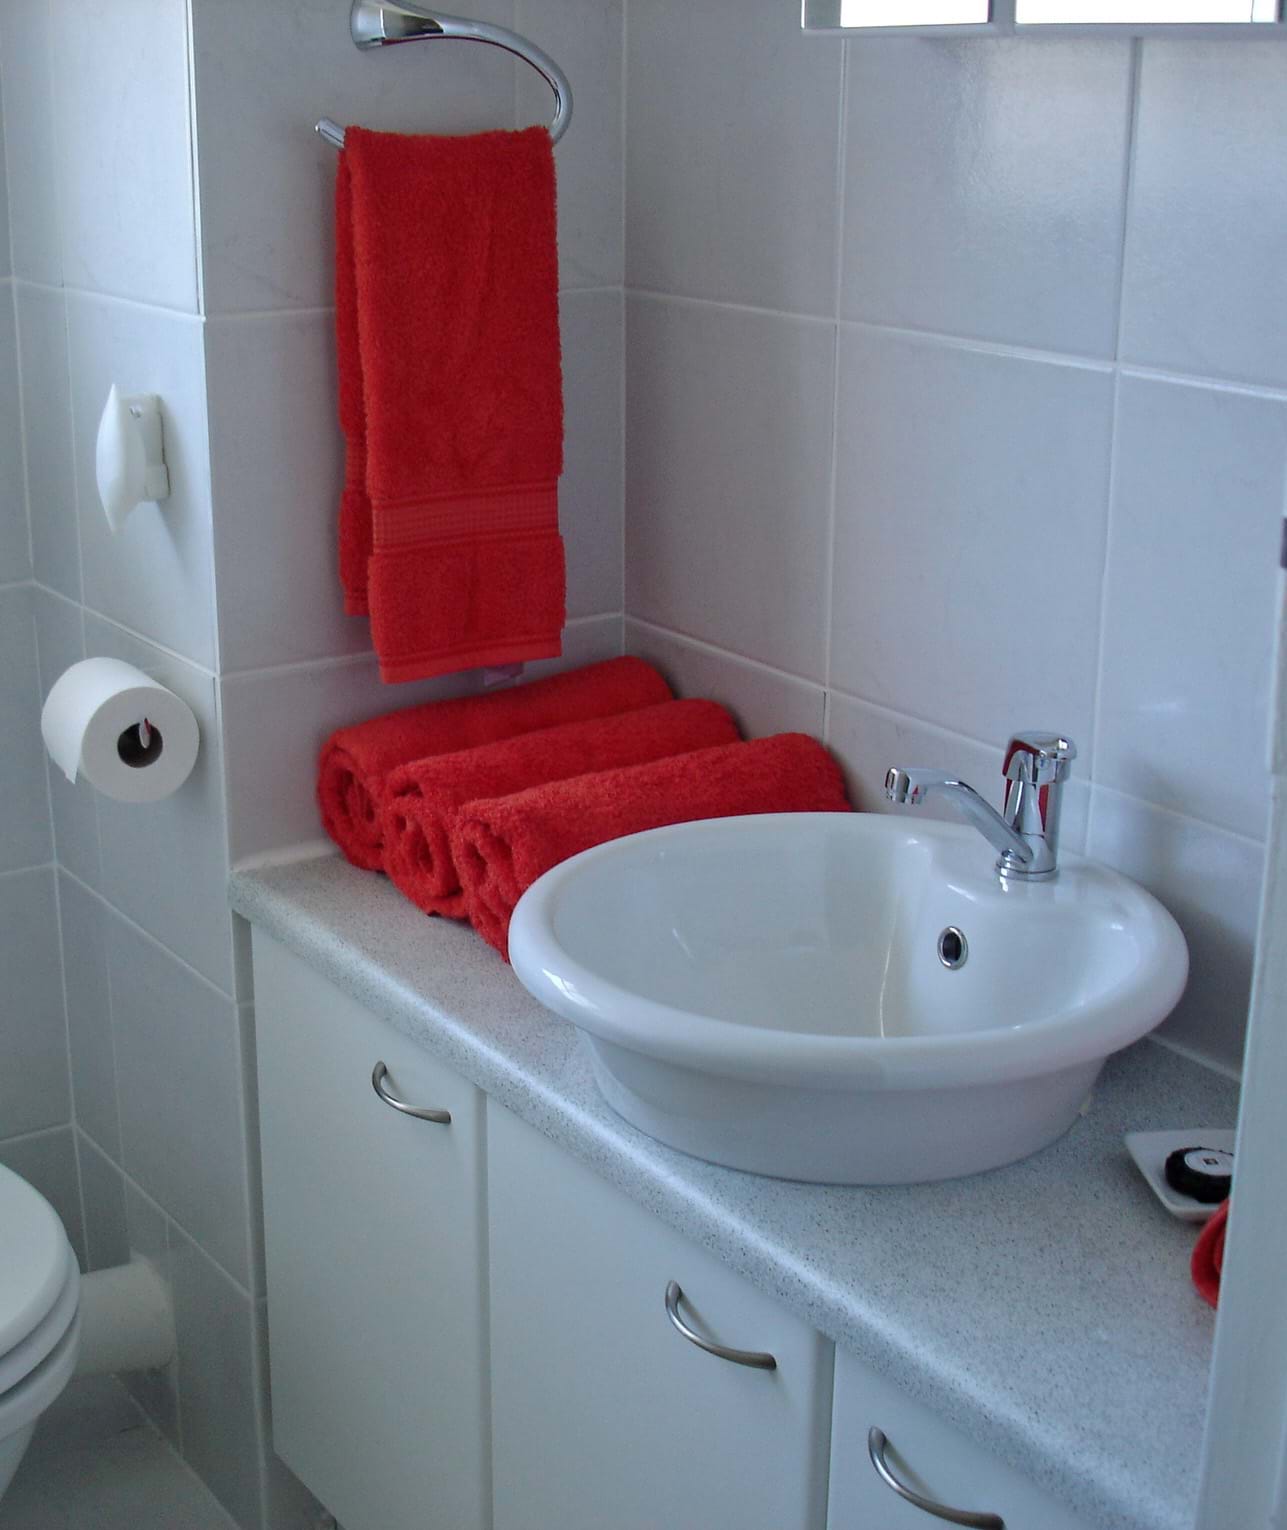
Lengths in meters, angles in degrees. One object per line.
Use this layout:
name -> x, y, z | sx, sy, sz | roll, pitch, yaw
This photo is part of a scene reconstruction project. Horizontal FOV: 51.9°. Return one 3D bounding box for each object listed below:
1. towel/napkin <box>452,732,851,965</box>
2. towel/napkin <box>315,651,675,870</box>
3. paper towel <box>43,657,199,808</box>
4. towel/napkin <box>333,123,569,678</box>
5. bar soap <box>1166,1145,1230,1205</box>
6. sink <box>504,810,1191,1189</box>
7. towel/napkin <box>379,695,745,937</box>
towel/napkin -> 0.001, 0.002, 1.213 | 0.245, 0.111, 0.211 | -20, 36, -28
towel/napkin -> -0.181, -0.055, 1.436 | 0.262, 0.118, 0.226 | -16, 33, -34
paper towel -> -0.556, -0.020, 1.410 | 0.132, 0.166, 0.183 | -7, 15, -34
towel/napkin -> -0.190, -0.355, 1.309 | 0.220, 0.536, 0.150 | 0, 11, -6
bar soap -> 0.348, 0.251, 0.831 | 0.039, 0.016, 0.077 | 8, 15, 25
sink -> 0.143, 0.170, 0.964 | 0.458, 0.158, 0.450 | 9, 16, 31
towel/napkin -> -0.101, 0.000, 1.316 | 0.247, 0.112, 0.215 | -19, 38, -34
